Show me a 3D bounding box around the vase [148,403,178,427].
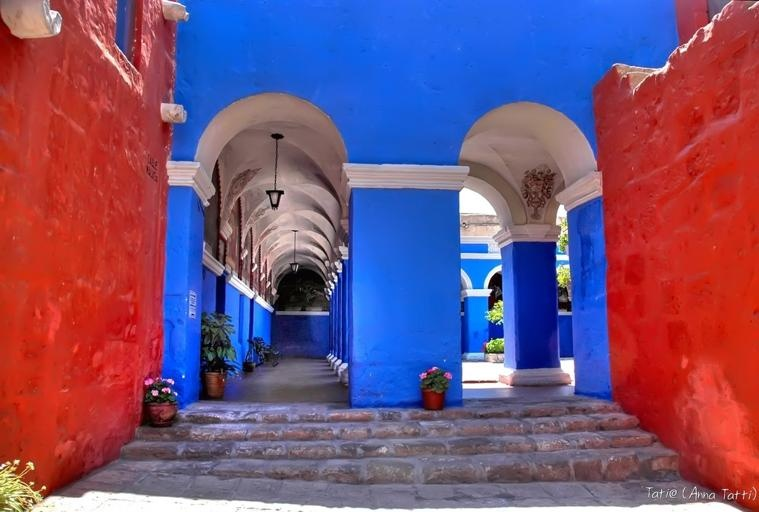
[{"bbox_3d":[-2.846,2.083,6.642,0.318,0.242,0.319,9,-18,-26],"label":"vase"}]

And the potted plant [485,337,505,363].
[{"bbox_3d":[4.355,3.648,19.277,0.582,0.918,1.354,2,8,8],"label":"potted plant"}]

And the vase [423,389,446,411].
[{"bbox_3d":[0.773,2.075,7.308,0.312,0.234,0.316,0,-12,3],"label":"vase"}]

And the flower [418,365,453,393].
[{"bbox_3d":[0.809,1.803,7.359,0.374,0.220,0.377,6,10,42],"label":"flower"}]

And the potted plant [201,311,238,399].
[{"bbox_3d":[-2.753,1.752,8.588,0.555,1.481,0.759,-1,8,-19],"label":"potted plant"}]

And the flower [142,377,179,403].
[{"bbox_3d":[-2.958,1.821,6.835,0.362,0.267,0.370,-5,-5,15],"label":"flower"}]
